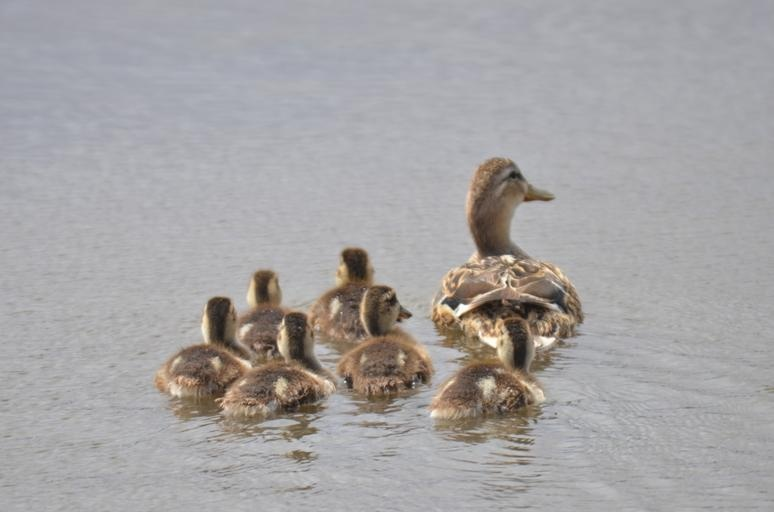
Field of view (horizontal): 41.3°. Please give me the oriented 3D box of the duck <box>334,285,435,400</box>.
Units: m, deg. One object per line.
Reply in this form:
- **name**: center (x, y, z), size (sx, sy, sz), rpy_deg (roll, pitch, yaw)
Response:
- **duck**: center (-0.070, 0.959, 10.400), size (0.952, 0.670, 1.445), rpy_deg (-8, 29, -5)

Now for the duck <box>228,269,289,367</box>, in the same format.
- **duck**: center (-1.366, 0.713, 11.331), size (0.736, 0.916, 1.389), rpy_deg (-2, 20, -7)

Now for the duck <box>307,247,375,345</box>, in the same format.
- **duck**: center (-0.520, 0.494, 11.681), size (0.742, 1.014, 1.665), rpy_deg (2, -6, 0)

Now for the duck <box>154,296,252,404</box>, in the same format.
- **duck**: center (-1.776, 0.937, 10.198), size (0.951, 0.732, 1.235), rpy_deg (10, 24, 10)
